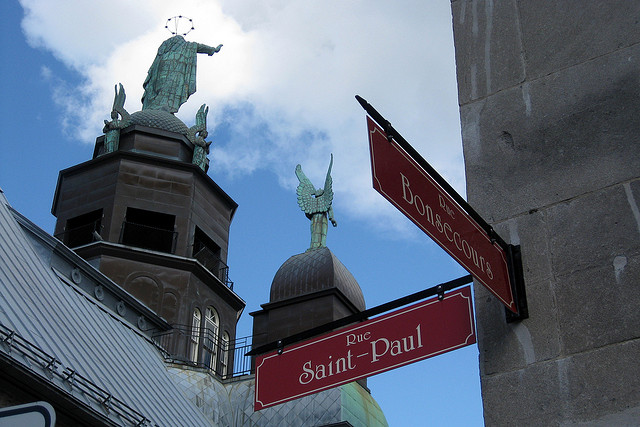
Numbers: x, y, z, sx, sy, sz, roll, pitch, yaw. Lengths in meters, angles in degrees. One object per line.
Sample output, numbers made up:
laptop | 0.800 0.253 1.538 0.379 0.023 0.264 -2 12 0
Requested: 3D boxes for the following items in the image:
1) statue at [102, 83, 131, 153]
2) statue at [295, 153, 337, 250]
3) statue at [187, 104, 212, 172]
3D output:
statue | -10.169 -4.669 42.507 1.300 3.796 1.074 -16 -24 38
statue | -0.283 -0.590 43.985 1.838 6.777 1.026 -9 -42 3
statue | -6.008 -3.765 43.083 0.914 3.762 1.125 -13 -33 16
